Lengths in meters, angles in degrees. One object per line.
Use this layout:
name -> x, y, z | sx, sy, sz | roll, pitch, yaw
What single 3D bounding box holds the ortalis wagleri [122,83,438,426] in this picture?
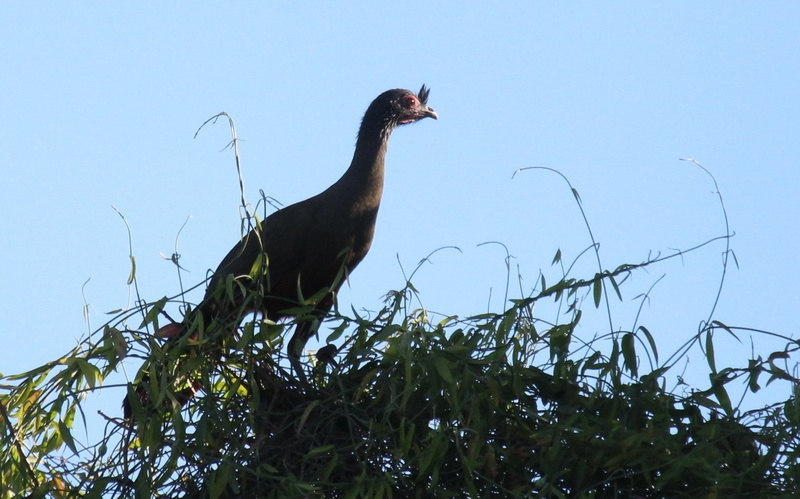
ortalis wagleri -> -0.348, -0.058, 5.253 | 1.091, 0.988, 0.343 | -3, -12, 34
